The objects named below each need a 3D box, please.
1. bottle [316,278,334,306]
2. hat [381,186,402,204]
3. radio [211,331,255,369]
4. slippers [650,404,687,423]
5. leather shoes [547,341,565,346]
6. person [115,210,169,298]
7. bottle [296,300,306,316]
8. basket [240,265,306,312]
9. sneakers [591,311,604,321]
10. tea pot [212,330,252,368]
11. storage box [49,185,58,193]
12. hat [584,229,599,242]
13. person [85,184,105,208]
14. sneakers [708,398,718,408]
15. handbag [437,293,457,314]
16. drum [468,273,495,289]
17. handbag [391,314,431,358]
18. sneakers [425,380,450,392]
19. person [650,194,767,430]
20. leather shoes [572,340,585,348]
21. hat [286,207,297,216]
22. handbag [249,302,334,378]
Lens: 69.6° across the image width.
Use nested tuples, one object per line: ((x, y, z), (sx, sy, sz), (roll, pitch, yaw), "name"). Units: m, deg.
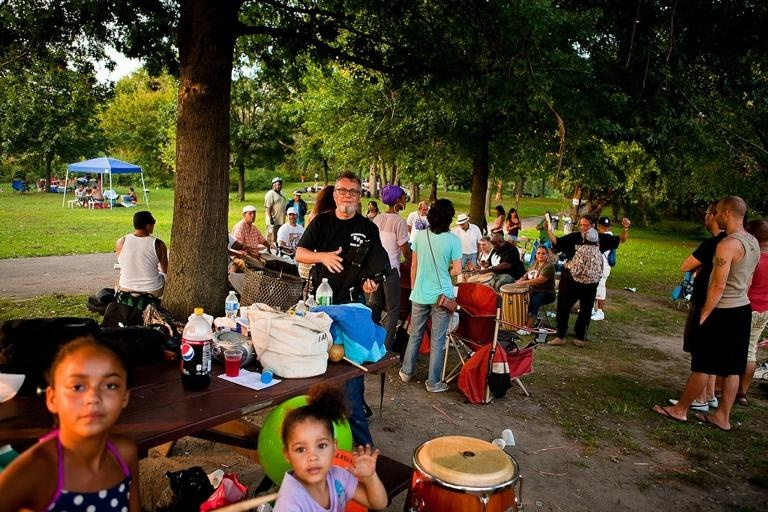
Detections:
((-0.662, 0.389, 6.132), (0.196, 0.296, 0.363), (2, 11, -7), "bottle")
((0.113, -1.097, 9.571), (0.269, 0.277, 0.350), (21, 49, 31), "hat")
((-1.443, 0.838, 5.263), (0.349, 0.143, 0.327), (24, 4, 26), "radio")
((4.094, 2.180, 7.921), (0.419, 0.299, 0.209), (13, 4, 37), "slippers")
((3.278, 1.635, 10.542), (0.318, 0.136, 0.109), (2, -6, 3), "leather shoes")
((-3.478, -0.031, 7.957), (0.689, 1.250, 0.630), (-2, 13, -25), "person")
((-0.819, 0.511, 5.474), (0.110, 0.186, 0.111), (0, -6, 0), "bottle")
((-1.322, 0.373, 6.578), (0.602, 0.472, 0.540), (12, -1, 28), "basket")
((4.951, 1.363, 12.765), (0.203, 0.252, 0.554), (-5, -11, 33), "sneakers")
((-1.433, 0.832, 5.258), (0.334, 0.135, 0.316), (22, 5, -2), "tea pot")
((-25.436, -5.302, 42.723), (0.572, 0.391, 5.328), (-3, 13, -31), "storage box")
((3.853, -0.396, 10.230), (0.230, 0.246, 0.354), (10, 13, 27), "hat")
((-15.283, -3.207, 29.257), (0.860, 1.134, 1.158), (-2, 13, -27), "person")
((4.830, 2.140, 8.100), (0.092, 0.106, 0.250), (-1, -1, 29), "sneakers")
((0.931, 0.670, 7.922), (0.292, 0.089, 0.215), (16, 38, -27), "handbag")
((1.970, 0.444, 11.286), (0.459, 0.213, 0.469), (9, -10, 2), "drum")
((0.417, 1.348, 9.240), (0.702, 0.687, 0.212), (14, 10, 9), "handbag")
((0.807, 1.918, 8.210), (0.310, 0.147, 0.136), (-1, 0, -23), "sneakers")
((4.471, 0.775, 7.360), (0.840, 3.142, 0.510), (3, 12, -2), "person")
((3.772, 1.664, 10.631), (0.255, 0.174, 0.086), (10, -10, -24), "leather shoes")
((-2.049, -1.028, 12.284), (0.299, 0.182, 0.485), (1, 0, -5), "hat")
((-0.910, 0.789, 5.288), (0.699, 0.504, 0.584), (6, 0, 30), "handbag")
